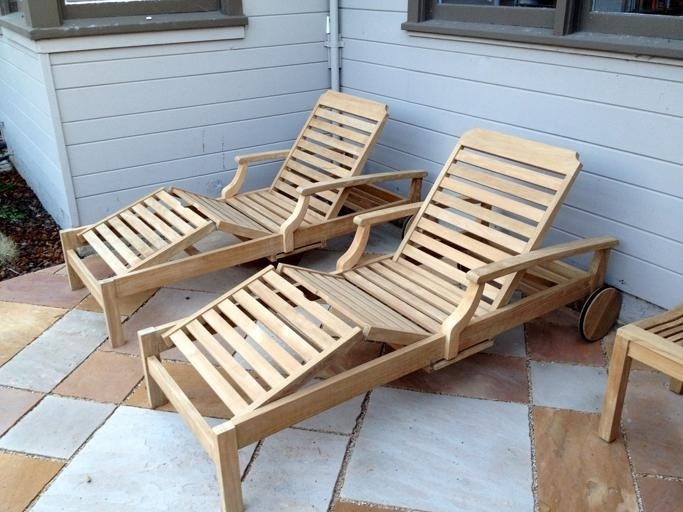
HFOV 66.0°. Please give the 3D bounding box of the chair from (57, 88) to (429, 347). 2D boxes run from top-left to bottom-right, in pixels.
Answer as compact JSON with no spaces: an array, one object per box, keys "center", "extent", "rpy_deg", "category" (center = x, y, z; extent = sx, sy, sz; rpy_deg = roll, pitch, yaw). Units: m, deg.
[{"center":[-0.425,-0.495,4.294],"extent":[3.391,1.284,1.482],"rpy_deg":[-18,36,-28],"category":"chair"}]
